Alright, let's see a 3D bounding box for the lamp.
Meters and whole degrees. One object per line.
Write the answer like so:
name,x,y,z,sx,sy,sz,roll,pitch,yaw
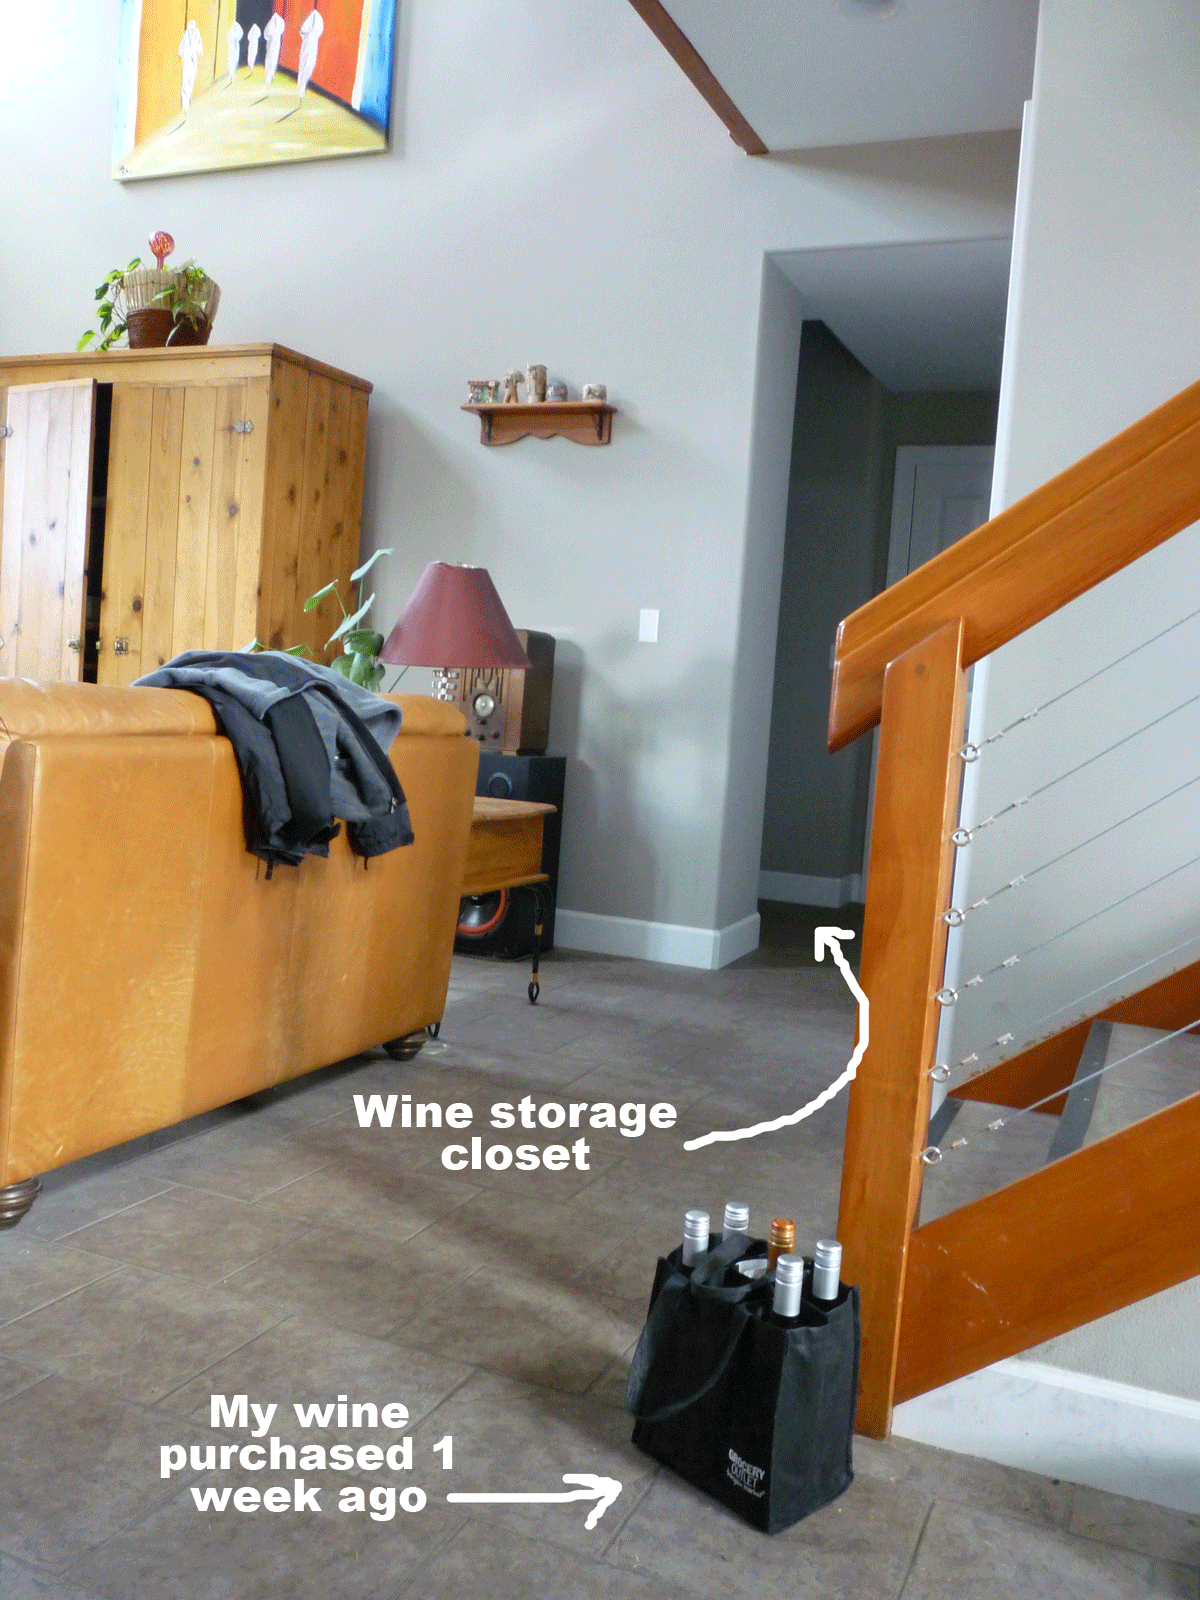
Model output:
lamp,-0.425,-0.486,3.673,0.346,0.373,0.360,1,7,3
